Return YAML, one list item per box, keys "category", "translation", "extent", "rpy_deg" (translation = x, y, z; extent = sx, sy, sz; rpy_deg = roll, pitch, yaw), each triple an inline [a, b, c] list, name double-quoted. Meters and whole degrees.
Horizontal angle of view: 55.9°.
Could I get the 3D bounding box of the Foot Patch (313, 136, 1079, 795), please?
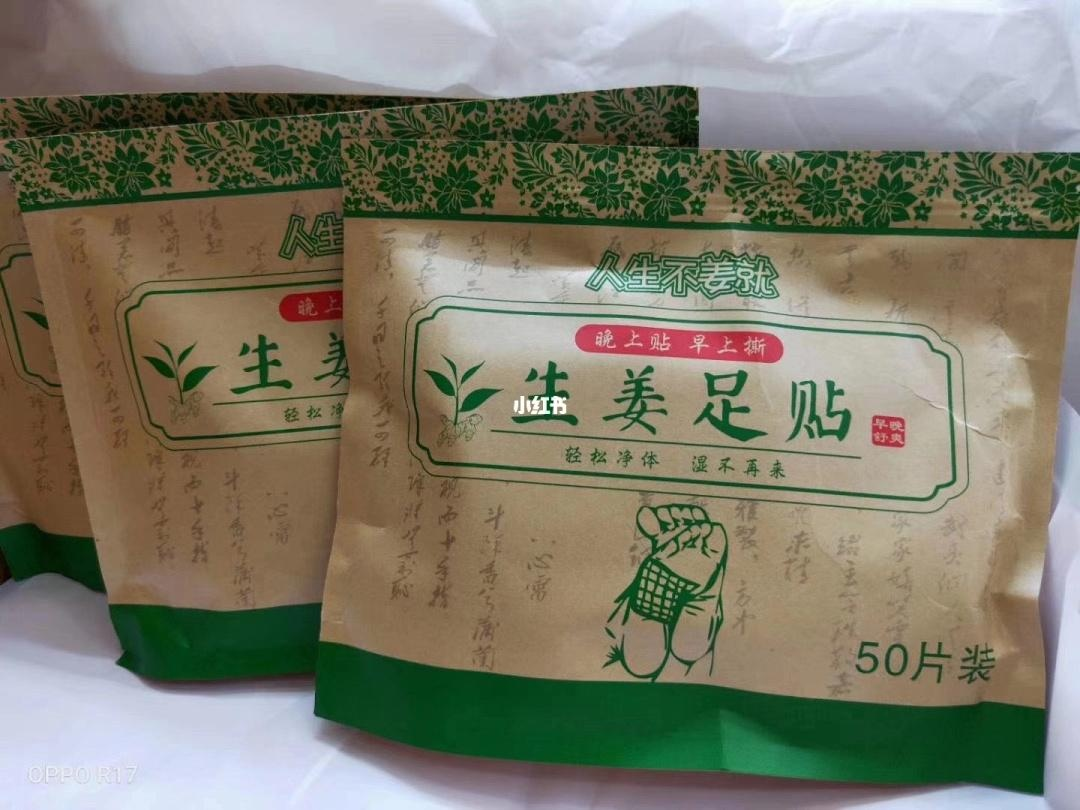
- category: "Foot Patch"
  translation: [0.152, 0.055, 1.023]
  extent: [0.735, 0.599, 0.285]
  rpy_deg: [2, 22, 7]
